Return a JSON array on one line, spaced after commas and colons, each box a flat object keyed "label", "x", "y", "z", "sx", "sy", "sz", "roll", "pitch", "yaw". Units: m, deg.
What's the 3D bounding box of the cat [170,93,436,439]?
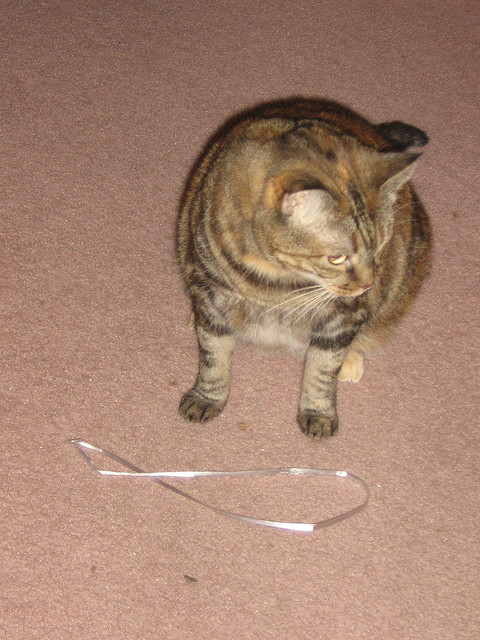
[{"label": "cat", "x": 0.201, "y": -0.258, "z": 2.316, "sx": 0.675, "sy": 0.866, "sz": 0.918, "roll": 15, "pitch": -40, "yaw": 2}]
